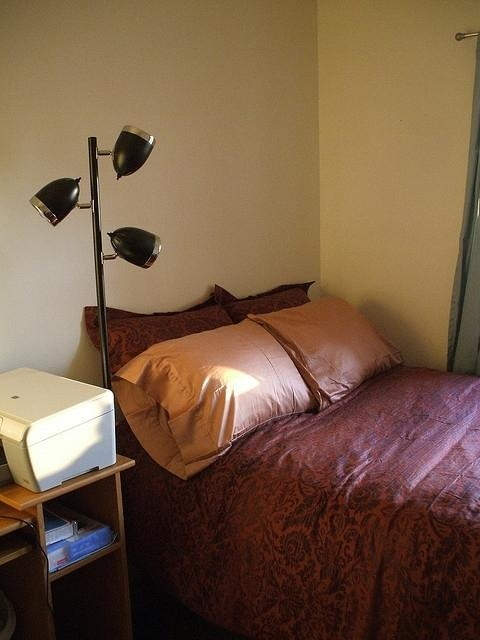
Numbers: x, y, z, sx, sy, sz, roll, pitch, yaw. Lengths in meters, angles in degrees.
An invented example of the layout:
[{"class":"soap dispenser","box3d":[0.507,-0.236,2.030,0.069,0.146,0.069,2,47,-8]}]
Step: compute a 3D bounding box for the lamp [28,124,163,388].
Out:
[{"class":"lamp","box3d":[-0.429,-0.174,1.514,0.361,0.757,0.464,-5,8,-22]}]
